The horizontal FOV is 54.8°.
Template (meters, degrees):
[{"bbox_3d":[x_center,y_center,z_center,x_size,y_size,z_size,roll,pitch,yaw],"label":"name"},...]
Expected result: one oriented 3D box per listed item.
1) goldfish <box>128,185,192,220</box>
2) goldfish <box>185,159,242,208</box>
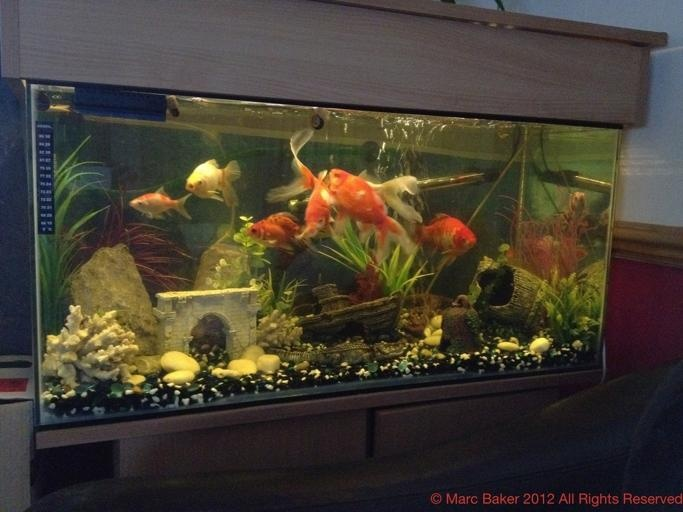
[{"bbox_3d":[-0.706,-0.201,2.564,0.225,0.121,0.031,-4,6,-23],"label":"goldfish"},{"bbox_3d":[-0.513,-0.299,2.638,0.157,0.186,0.212,12,14,39],"label":"goldfish"}]
